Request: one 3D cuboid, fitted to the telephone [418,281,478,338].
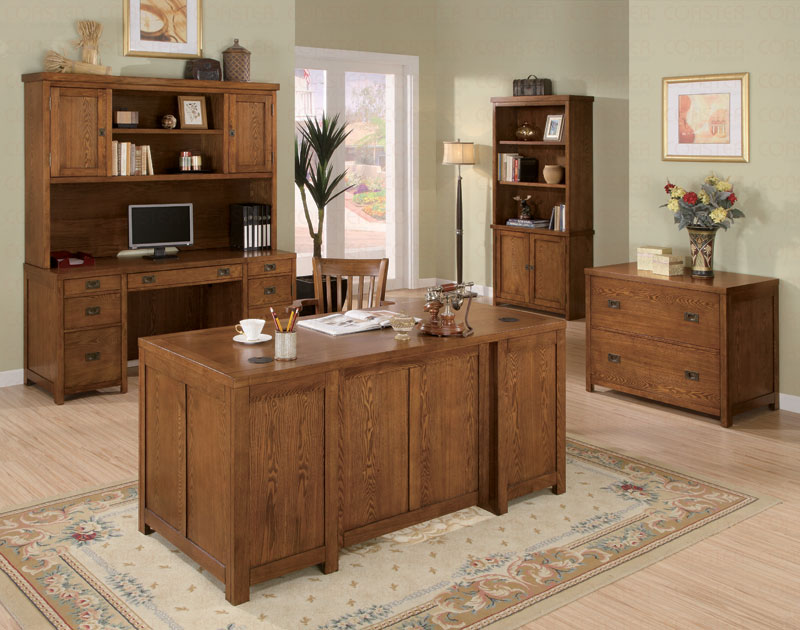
[{"bbox_3d":[0.233,-0.024,3.166,0.263,0.195,0.213,4,6,11],"label":"telephone"}]

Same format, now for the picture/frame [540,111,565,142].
[{"bbox_3d":[1.630,-1.991,7.277,0.185,0.308,0.342,2,12,11],"label":"picture/frame"}]

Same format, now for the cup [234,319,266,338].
[{"bbox_3d":[-0.639,0.055,3.027,0.126,0.066,0.107,10,18,40],"label":"cup"}]

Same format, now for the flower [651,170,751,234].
[{"bbox_3d":[2.137,-0.790,4.854,0.458,0.390,0.588,-11,16,-43],"label":"flower"}]

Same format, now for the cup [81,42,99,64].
[{"bbox_3d":[-2.293,-1.924,5.056,0.123,0.179,0.215,-5,13,-23],"label":"cup"}]

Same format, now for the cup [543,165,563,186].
[{"bbox_3d":[1.628,-1.507,7.362,0.247,0.174,0.234,-1,11,0],"label":"cup"}]

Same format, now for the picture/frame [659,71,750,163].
[{"bbox_3d":[2.219,-1.432,4.936,0.035,0.685,0.804,-10,13,-40],"label":"picture/frame"}]

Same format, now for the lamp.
[{"bbox_3d":[0.722,-1.266,8.413,0.381,1.713,0.561,1,13,4],"label":"lamp"}]

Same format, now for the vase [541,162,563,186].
[{"bbox_3d":[1.637,-1.512,7.374,0.263,0.195,0.255,3,8,34],"label":"vase"}]

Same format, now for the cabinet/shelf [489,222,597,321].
[{"bbox_3d":[1.486,-0.468,6.913,0.459,0.823,1.146,-5,10,-41],"label":"cabinet/shelf"}]

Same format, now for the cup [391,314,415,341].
[{"bbox_3d":[0.007,0.057,3.050,0.117,0.072,0.104,0,2,1],"label":"cup"}]

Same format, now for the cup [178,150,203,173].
[{"bbox_3d":[-1.700,-1.254,5.591,0.223,0.167,0.199,-5,14,-30],"label":"cup"}]

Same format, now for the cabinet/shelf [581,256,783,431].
[{"bbox_3d":[1.944,0.172,5.152,1.082,1.247,1.806,-7,10,-40],"label":"cabinet/shelf"}]

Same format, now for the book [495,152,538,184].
[{"bbox_3d":[1.322,-1.585,7.721,0.522,0.425,0.380,-8,11,-43],"label":"book"}]

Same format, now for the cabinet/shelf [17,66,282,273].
[{"bbox_3d":[-2.001,-1.144,5.300,2.101,1.429,0.564,-4,7,-36],"label":"cabinet/shelf"}]

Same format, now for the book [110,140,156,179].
[{"bbox_3d":[-2.034,-1.171,5.153,0.320,0.257,0.073,-11,16,-42],"label":"book"}]

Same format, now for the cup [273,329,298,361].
[{"bbox_3d":[-0.446,0.124,2.729,0.113,0.102,0.111,0,4,0],"label":"cup"}]
